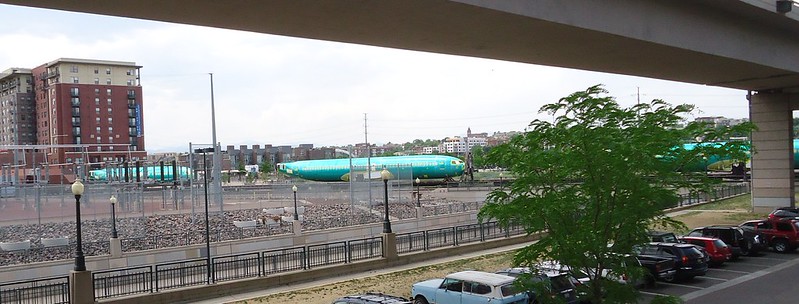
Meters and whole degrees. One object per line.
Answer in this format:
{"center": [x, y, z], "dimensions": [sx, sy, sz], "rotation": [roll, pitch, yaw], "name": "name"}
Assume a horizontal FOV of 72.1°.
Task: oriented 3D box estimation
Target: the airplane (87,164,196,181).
{"center": [-60.172, 4.760, 126.812], "dimensions": [27.244, 4.989, 8.739], "rotation": [2, -1, 4], "name": "airplane"}
